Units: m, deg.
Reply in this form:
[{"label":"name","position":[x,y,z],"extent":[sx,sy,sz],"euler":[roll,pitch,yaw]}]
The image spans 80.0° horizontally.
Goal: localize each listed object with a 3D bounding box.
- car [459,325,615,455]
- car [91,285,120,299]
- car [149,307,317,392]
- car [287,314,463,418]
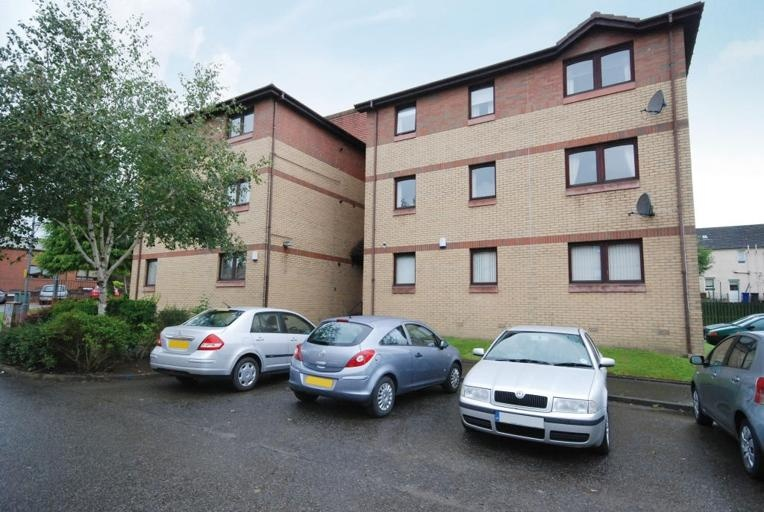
[{"label":"car","position":[2.779,2.399,8.094],"extent":[2.537,1.807,2.086],"euler":[-2,6,-36]},{"label":"car","position":[-12.234,1.597,20.219],"extent":[0.985,0.626,1.496],"euler":[0,6,-14]},{"label":"car","position":[-3.372,2.201,11.294],"extent":[1.882,1.230,3.932],"euler":[-2,-3,30]},{"label":"car","position":[-0.081,2.254,9.741],"extent":[3.419,1.838,1.453],"euler":[-2,6,-31]}]
